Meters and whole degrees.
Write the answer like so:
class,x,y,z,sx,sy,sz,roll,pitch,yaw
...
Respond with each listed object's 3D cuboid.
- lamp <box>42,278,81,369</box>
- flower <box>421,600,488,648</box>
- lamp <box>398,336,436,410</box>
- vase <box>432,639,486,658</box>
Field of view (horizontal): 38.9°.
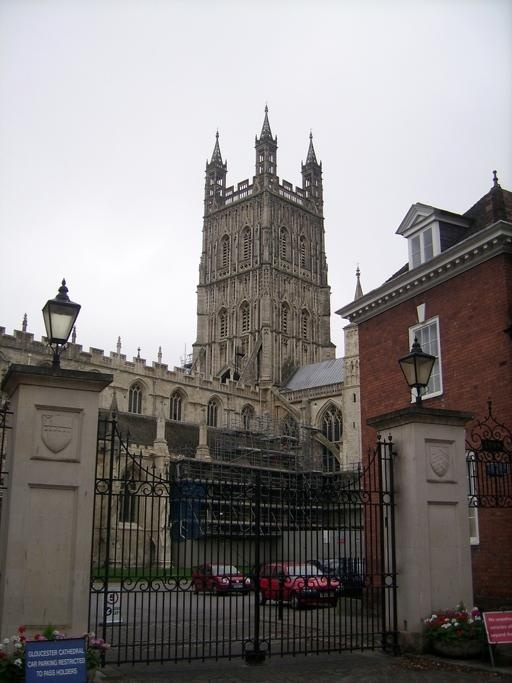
class,x,y,z,sx,sy,sz,roll,pitch,yaw
lamp,-2.330,-0.215,8.661,0.421,1.099,0.356,8,-7,-36
flower,2.593,3.709,9.449,0.497,0.371,0.537,9,-21,-25
lamp,2.306,0.460,10.366,0.528,1.060,0.501,-9,-18,31
vase,2.595,3.977,9.320,0.402,0.163,0.417,21,-37,-34
